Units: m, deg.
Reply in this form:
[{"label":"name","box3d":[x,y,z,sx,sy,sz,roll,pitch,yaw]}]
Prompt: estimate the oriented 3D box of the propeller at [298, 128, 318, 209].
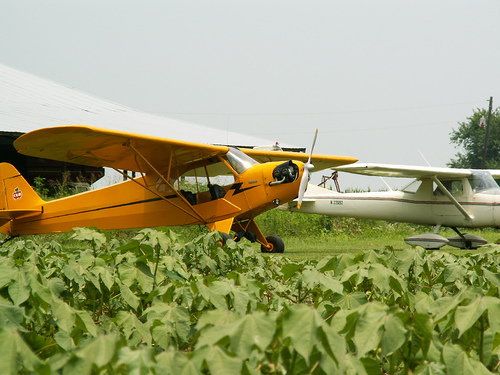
[{"label":"propeller","box3d":[1.102,-0.125,7.563,0.264,1.653,0.179,9,-3,-36]}]
